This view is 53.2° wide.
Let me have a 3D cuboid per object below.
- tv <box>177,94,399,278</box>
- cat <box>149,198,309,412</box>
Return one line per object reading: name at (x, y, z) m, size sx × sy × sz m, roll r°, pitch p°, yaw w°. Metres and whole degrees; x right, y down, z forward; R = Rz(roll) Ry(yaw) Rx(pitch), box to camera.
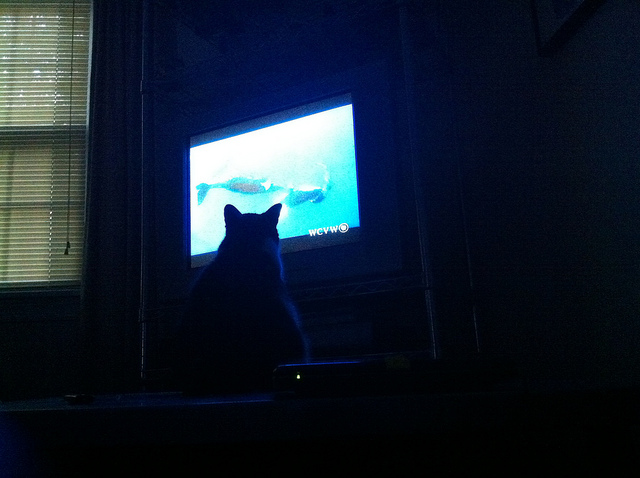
tv at (-0.078, -0.143, 1.957) m, size 0.575 × 0.410 × 0.012 m, roll -7°, pitch -15°, yaw 24°
cat at (-0.231, 0.186, 1.875) m, size 0.365 × 0.302 × 0.689 m, roll 2°, pitch 36°, yaw -4°
